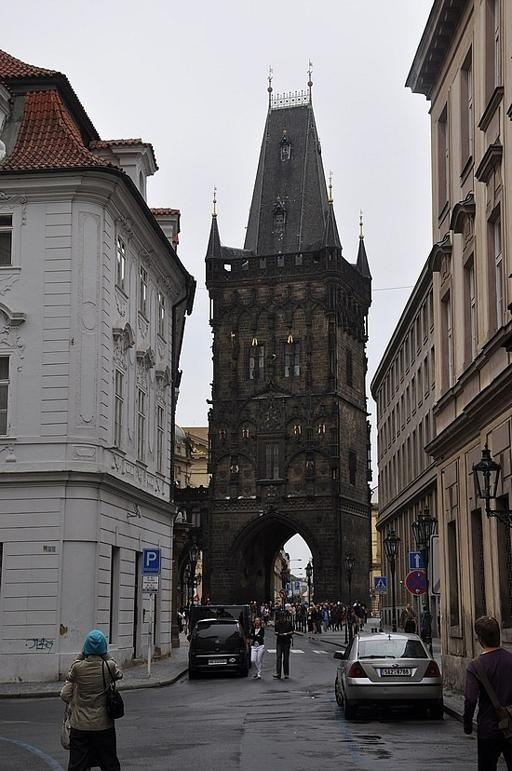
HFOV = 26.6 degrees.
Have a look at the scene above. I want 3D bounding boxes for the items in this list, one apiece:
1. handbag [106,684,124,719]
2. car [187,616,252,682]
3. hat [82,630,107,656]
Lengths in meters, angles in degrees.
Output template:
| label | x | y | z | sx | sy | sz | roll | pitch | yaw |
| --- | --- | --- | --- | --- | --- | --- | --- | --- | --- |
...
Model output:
| label | x | y | z | sx | sy | sz | roll | pitch | yaw |
| --- | --- | --- | --- | --- | --- | --- | --- | --- | --- |
| handbag | -0.920 | 2.057 | 7.072 | 0.101 | 0.230 | 0.234 | -1 | -17 | 4 |
| car | -0.936 | 6.481 | 26.746 | 1.419 | 1.527 | 1.513 | 1 | -17 | -4 |
| hat | -1.091 | 1.772 | 7.386 | 0.132 | 0.173 | 0.221 | 2 | -3 | -8 |
